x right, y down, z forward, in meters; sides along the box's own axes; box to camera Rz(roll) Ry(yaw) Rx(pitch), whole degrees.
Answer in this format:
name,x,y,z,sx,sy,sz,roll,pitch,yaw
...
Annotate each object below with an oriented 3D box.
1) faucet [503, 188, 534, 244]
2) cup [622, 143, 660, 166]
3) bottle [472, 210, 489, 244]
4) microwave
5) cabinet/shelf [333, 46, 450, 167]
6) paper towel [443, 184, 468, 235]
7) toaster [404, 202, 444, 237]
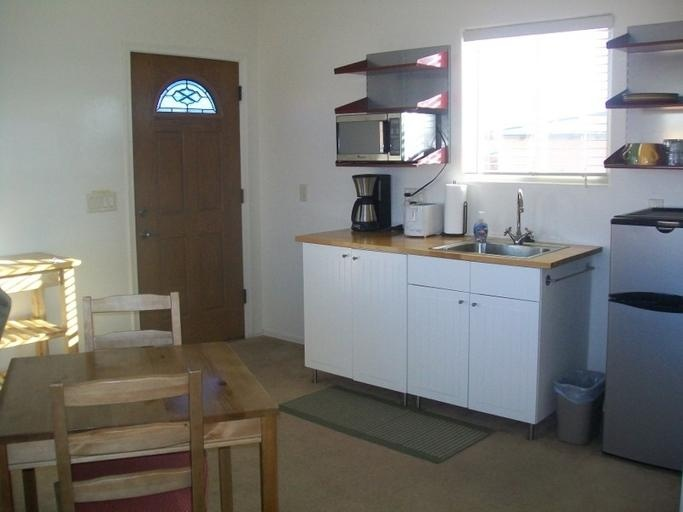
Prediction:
name,x,y,z,sx,sy,sz,roll,pitch,yaw
faucet,1.182,-0.269,3.720,0.199,0.355,0.286,7,14,34
cup,1.802,-0.606,3.300,0.155,0.072,0.158,1,2,0
bottle,0.972,-0.210,3.835,0.084,0.208,0.335,2,12,15
microwave,0.352,-0.865,4.071,0.782,0.352,0.350,0,11,1
cabinet/shelf,0.375,-1.097,4.165,0.830,0.839,0.481,13,20,43
paper towel,0.820,-0.331,3.963,0.147,0.354,0.101,0,11,3
toaster,0.585,-0.254,4.069,0.189,0.235,0.260,4,4,34
